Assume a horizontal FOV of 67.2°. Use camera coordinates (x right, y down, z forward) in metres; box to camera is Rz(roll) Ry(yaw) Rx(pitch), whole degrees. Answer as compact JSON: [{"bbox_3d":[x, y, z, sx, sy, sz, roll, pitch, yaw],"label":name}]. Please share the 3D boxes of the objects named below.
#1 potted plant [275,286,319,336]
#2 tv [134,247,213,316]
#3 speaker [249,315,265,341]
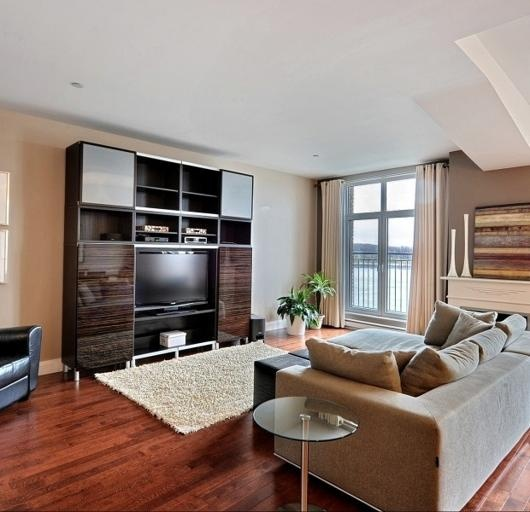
[{"bbox_3d":[0.508,0.892,6.290,0.638,0.674,0.717,3,-4,-42],"label":"potted plant"},{"bbox_3d":[-1.130,0.306,4.780,0.093,0.623,0.963,3,3,44],"label":"tv"},{"bbox_3d":[-0.099,1.005,5.655,0.254,0.303,0.293,1,-1,-39],"label":"speaker"}]
